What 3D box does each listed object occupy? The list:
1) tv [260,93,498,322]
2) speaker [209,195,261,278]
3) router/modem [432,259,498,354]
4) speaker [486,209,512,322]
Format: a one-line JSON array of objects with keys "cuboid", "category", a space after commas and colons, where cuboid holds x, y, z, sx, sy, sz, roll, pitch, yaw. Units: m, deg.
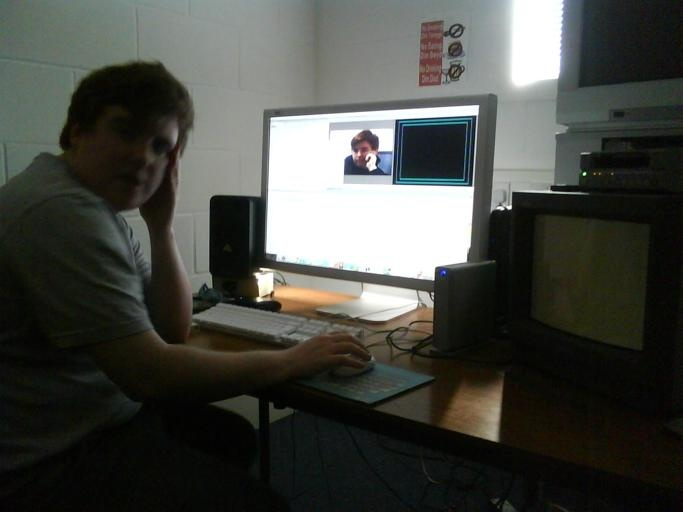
[{"cuboid": [0.078, -0.132, 1.542, 0.704, 0.572, 0.185, 6, 12, 36], "category": "tv"}, {"cuboid": [-0.324, -0.058, 1.720, 0.143, 0.228, 0.139, 4, 10, 29], "category": "speaker"}, {"cuboid": [0.284, 0.119, 1.277, 0.179, 0.200, 0.061, -7, 9, -41], "category": "router/modem"}, {"cuboid": [0.410, 0.013, 1.400, 0.039, 0.275, 0.068, -10, 11, -33], "category": "speaker"}]
